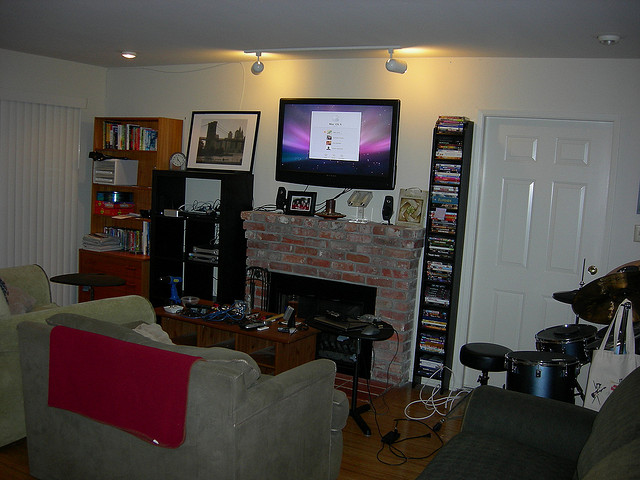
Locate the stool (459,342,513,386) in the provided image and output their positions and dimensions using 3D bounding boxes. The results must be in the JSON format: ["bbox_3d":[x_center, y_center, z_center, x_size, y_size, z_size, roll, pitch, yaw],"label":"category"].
[{"bbox_3d":[1.142,0.814,3.734,0.325,0.377,0.340,1,6,1],"label":"stool"}]

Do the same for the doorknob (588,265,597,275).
[{"bbox_3d":[2.234,0.252,4.248,0.067,0.082,0.133,7,6,28],"label":"doorknob"}]

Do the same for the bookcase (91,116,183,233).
[{"bbox_3d":[-2.155,-0.714,5.917,1.170,1.364,0.407,7,6,28],"label":"bookcase"}]

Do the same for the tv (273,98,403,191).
[{"bbox_3d":[0.212,-0.900,4.772,0.820,0.579,0.070,8,8,20],"label":"tv"}]

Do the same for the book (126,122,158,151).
[{"bbox_3d":[-1.969,-1.136,5.736,0.337,0.332,0.184,4,0,27],"label":"book"}]

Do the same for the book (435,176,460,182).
[{"bbox_3d":[1.080,-0.515,4.395,0.201,0.046,0.035,7,6,29],"label":"book"}]

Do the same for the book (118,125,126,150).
[{"bbox_3d":[-2.215,-1.158,5.808,0.137,0.244,0.248,1,4,-20],"label":"book"}]

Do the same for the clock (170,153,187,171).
[{"bbox_3d":[-1.525,-0.853,5.622,0.143,0.189,0.272,1,6,-30],"label":"clock"}]

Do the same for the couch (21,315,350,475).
[{"bbox_3d":[-0.615,0.549,2.848,1.349,0.861,1.043,5,9,32],"label":"couch"}]
